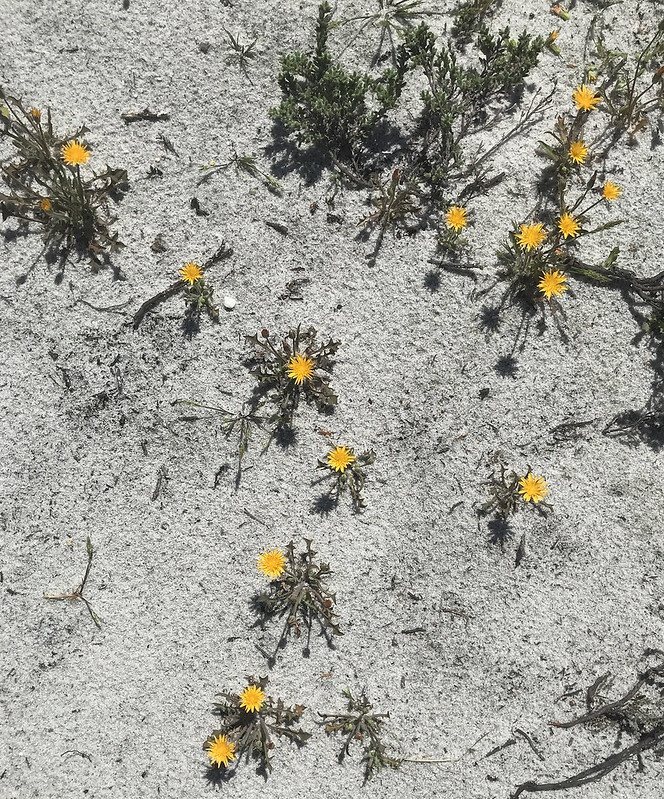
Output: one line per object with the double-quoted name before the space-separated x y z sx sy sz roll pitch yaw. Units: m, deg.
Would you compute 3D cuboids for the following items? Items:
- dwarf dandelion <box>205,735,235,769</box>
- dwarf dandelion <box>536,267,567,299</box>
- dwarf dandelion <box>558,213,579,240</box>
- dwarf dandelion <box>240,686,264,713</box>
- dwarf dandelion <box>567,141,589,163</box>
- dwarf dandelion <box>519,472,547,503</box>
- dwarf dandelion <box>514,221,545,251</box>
"dwarf dandelion" -0.619 1.946 7.705 0.166 0.161 0.151 -2 59 -8
"dwarf dandelion" 1.268 -0.648 8.031 0.151 0.176 0.066 33 19 11
"dwarf dandelion" 1.374 -0.997 8.080 0.121 0.143 0.058 30 23 0
"dwarf dandelion" -0.448 1.673 7.744 0.150 0.142 0.137 3 58 -5
"dwarf dandelion" 1.448 -1.436 8.161 0.102 0.139 0.055 11 24 15
"dwarf dandelion" 1.153 0.511 7.953 0.141 0.065 0.179 -19 71 2
"dwarf dandelion" 1.153 -0.928 8.051 0.163 0.179 0.069 36 19 16
